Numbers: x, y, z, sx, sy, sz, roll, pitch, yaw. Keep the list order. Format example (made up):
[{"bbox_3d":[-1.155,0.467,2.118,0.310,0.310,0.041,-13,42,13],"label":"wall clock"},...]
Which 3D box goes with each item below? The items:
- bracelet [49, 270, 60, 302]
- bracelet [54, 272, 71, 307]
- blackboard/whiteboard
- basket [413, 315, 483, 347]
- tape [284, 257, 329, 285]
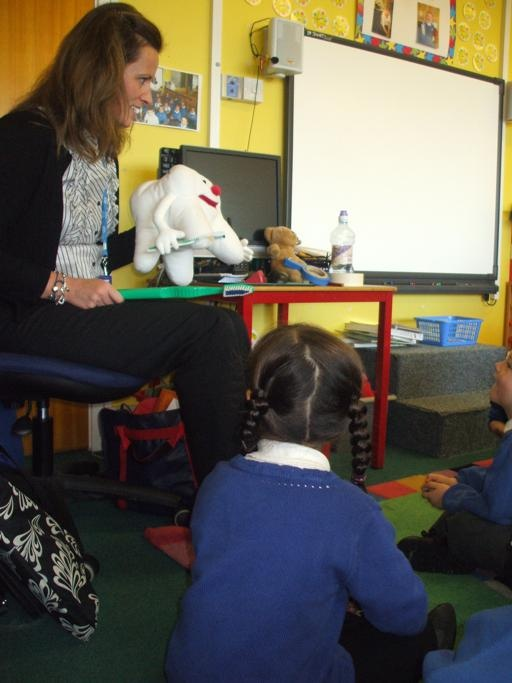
[{"bbox_3d":[-0.385,-0.104,1.062,0.016,0.043,0.032,8,-20,-1],"label":"bracelet"},{"bbox_3d":[-0.375,-0.101,1.068,0.015,0.053,0.033,10,9,23],"label":"bracelet"},{"bbox_3d":[0.649,-0.928,2.729,1.620,1.295,0.106,-3,4,-35],"label":"blackboard/whiteboard"},{"bbox_3d":[0.972,-0.087,2.759,0.264,0.108,0.188,-6,13,-30],"label":"basket"},{"bbox_3d":[0.170,-0.235,1.892,0.129,0.031,0.095,28,12,1],"label":"tape"}]
